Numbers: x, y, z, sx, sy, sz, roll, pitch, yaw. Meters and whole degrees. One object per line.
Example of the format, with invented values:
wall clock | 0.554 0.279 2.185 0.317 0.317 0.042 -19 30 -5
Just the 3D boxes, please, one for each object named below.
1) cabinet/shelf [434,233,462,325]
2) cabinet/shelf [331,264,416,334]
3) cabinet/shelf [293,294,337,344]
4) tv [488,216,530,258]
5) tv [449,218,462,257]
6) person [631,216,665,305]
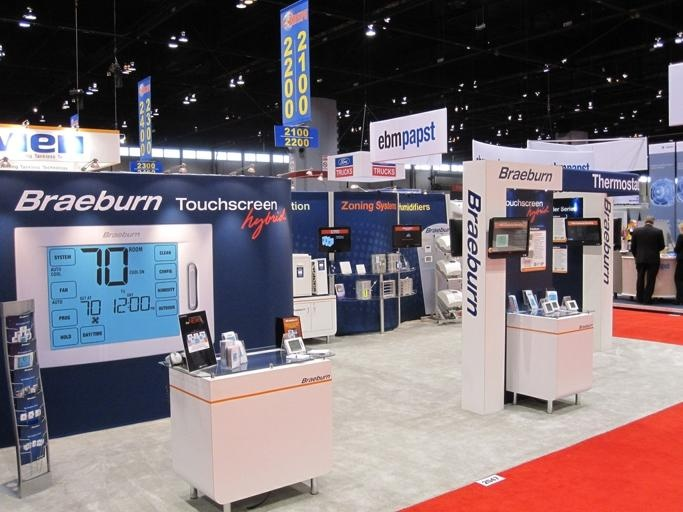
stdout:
cabinet/shelf | 2.153 0.441 10.949 0.508 1.740 0.905 0 6 10
cabinet/shelf | 0.657 0.842 10.109 1.701 1.164 0.589 -6 7 -34
cabinet/shelf | -0.424 1.159 9.494 0.908 0.777 0.525 -7 -17 18
tv | 1.907 -0.228 6.169 0.679 0.466 0.092 -6 7 -37
tv | 2.022 -0.344 9.628 0.195 0.671 0.405 0 6 11
person | 6.471 0.194 11.471 0.595 1.727 0.671 3 8 39
